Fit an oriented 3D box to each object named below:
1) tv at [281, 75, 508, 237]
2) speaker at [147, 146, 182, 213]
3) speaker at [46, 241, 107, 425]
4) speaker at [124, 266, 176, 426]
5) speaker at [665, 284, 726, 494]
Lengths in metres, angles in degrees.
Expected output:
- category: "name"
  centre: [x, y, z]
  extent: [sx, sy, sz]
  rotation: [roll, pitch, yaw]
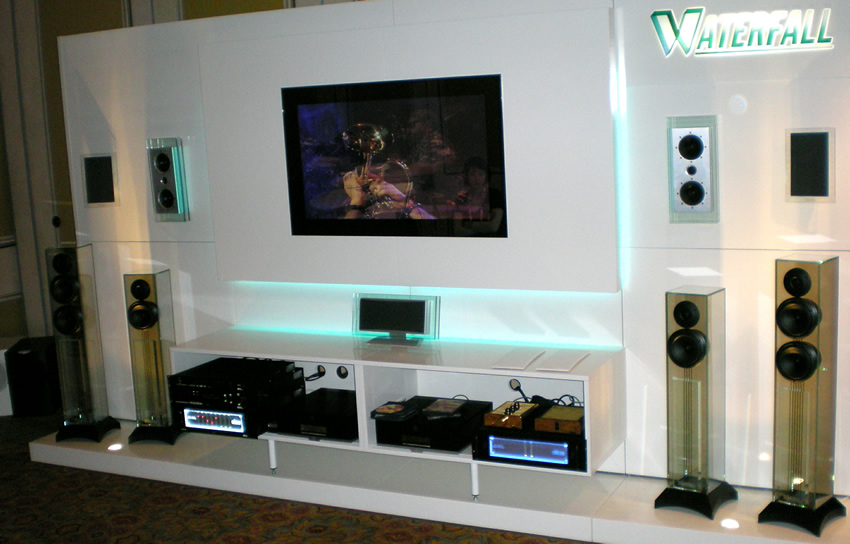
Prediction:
- category: "tv"
  centre: [-0.140, -0.771, 4.606]
  extent: [1.092, 0.727, 0.044]
  rotation: [1, 7, 15]
- category: "speaker"
  centre: [-1.864, -0.656, 5.210]
  extent: [0.233, 0.493, 0.063]
  rotation: [0, 9, 8]
- category: "speaker"
  centre: [-2.529, 0.444, 5.255]
  extent: [0.297, 1.301, 0.126]
  rotation: [-6, 10, -27]
- category: "speaker"
  centre: [-1.961, 0.544, 5.206]
  extent: [0.291, 1.100, 0.175]
  rotation: [-6, 10, -27]
- category: "speaker"
  centre: [1.578, 0.646, 4.137]
  extent: [0.414, 1.115, 0.211]
  rotation: [-5, 9, -22]
